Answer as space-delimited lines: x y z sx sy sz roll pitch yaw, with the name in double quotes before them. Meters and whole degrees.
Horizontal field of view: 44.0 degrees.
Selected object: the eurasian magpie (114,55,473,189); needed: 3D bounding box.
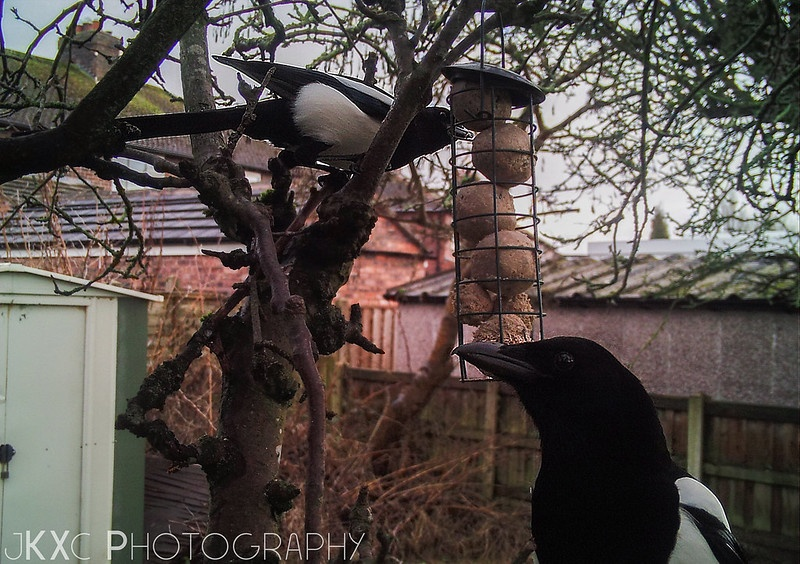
"eurasian magpie" -0.588 -0.878 5.519 1.927 0.682 0.563 12 -22 5
